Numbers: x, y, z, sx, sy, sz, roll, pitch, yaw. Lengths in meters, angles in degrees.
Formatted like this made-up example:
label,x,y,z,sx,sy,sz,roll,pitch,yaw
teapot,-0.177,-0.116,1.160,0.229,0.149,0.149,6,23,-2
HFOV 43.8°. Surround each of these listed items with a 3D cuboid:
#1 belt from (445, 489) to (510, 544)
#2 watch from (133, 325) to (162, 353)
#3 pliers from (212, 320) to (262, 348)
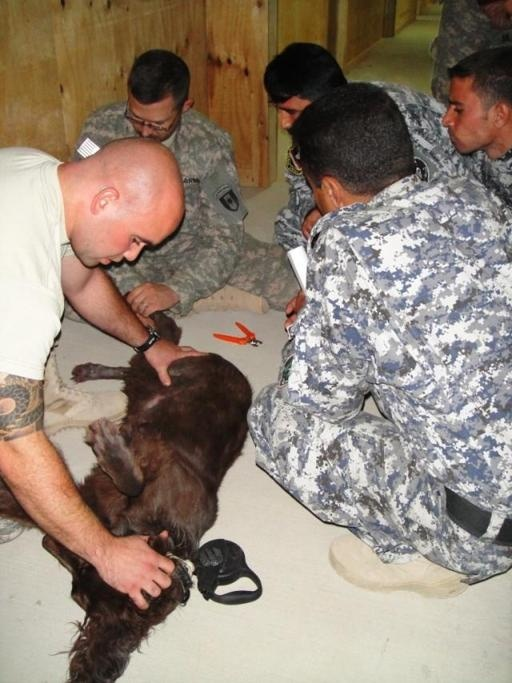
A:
label,x,y,z,sx,sy,sz,roll,pitch,yaw
belt,0.516,0.402,1.474,0.105,0.143,0.055,27,87,42
watch,-0.394,-0.013,2.401,0.086,0.051,0.109,-25,20,52
pliers,-0.077,-0.032,2.714,0.145,0.036,0.102,15,45,34
